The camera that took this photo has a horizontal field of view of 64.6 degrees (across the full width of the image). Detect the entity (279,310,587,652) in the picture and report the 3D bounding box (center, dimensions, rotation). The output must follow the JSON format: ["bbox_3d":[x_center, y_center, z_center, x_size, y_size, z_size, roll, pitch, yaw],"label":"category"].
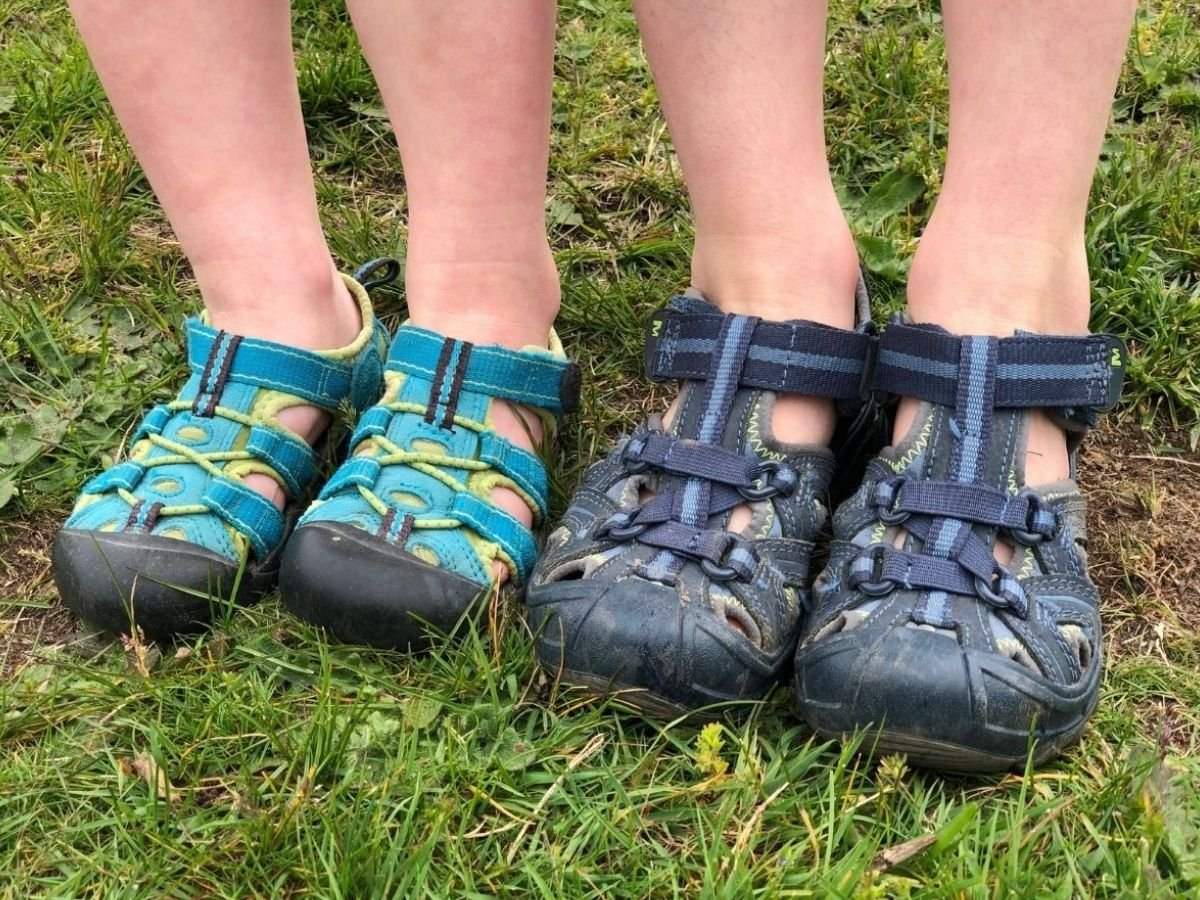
[{"bbox_3d":[-0.257,-0.024,1.661,0.364,0.337,0.802,18,40,1],"label":"entity"}]

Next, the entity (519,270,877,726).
[{"bbox_3d":[0.229,0.002,1.613,0.408,0.384,0.958,14,41,24],"label":"entity"}]

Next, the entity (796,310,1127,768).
[{"bbox_3d":[0.567,0.036,1.462,0.338,0.350,0.791,8,46,21],"label":"entity"}]
